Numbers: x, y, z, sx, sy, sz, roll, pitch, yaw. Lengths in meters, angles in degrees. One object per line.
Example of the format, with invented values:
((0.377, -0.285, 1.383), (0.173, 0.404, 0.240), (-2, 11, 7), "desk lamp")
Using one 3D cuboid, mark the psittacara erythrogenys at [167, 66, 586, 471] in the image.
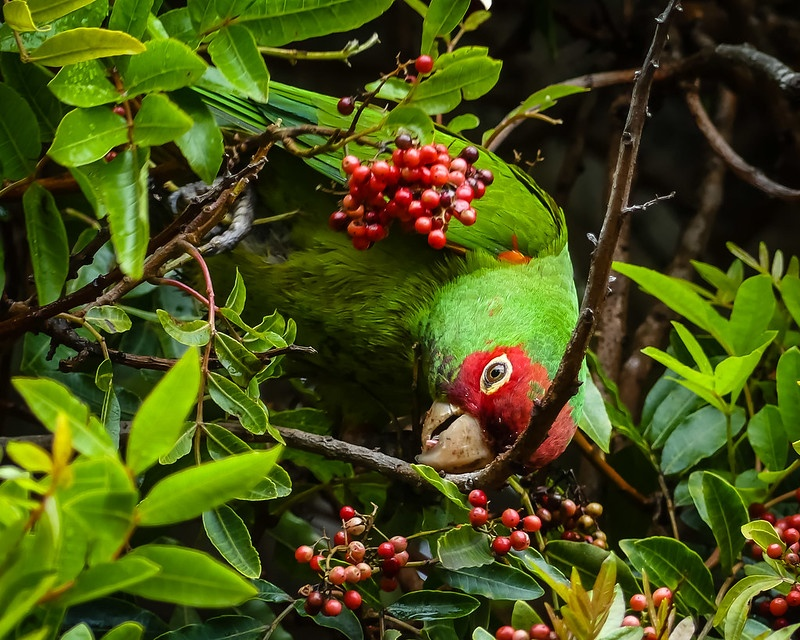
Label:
((-0.072, -0.120, 2.875), (0.769, 0.585, 1.379), (-14, 53, -21), "psittacara erythrogenys")
